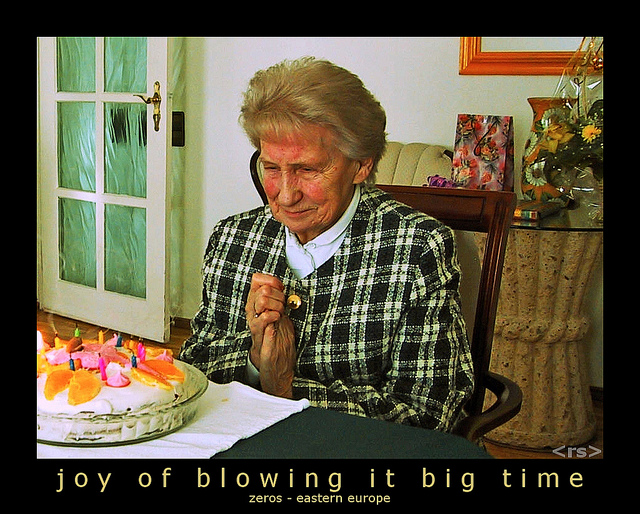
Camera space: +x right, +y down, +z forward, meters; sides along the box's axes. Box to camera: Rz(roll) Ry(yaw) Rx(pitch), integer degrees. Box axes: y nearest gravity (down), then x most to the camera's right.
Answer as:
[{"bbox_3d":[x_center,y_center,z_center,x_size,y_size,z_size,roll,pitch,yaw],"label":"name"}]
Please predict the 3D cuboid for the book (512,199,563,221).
[{"bbox_3d":[0.738,-0.157,1.906,0.116,0.026,0.117,-14,16,-33],"label":"book"}]

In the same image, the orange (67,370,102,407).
[{"bbox_3d":[-0.290,0.163,0.696,0.037,0.029,0.044,7,6,-19],"label":"orange"}]

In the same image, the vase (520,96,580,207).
[{"bbox_3d":[0.839,-0.386,2.062,0.155,0.348,0.172,4,8,-45],"label":"vase"}]

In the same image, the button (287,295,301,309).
[{"bbox_3d":[-0.049,0.089,1.066,0.020,0.025,0.030,7,6,-24],"label":"button"}]

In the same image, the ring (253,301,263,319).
[{"bbox_3d":[-0.108,0.094,0.981,0.019,0.024,0.008,11,17,26],"label":"ring"}]
